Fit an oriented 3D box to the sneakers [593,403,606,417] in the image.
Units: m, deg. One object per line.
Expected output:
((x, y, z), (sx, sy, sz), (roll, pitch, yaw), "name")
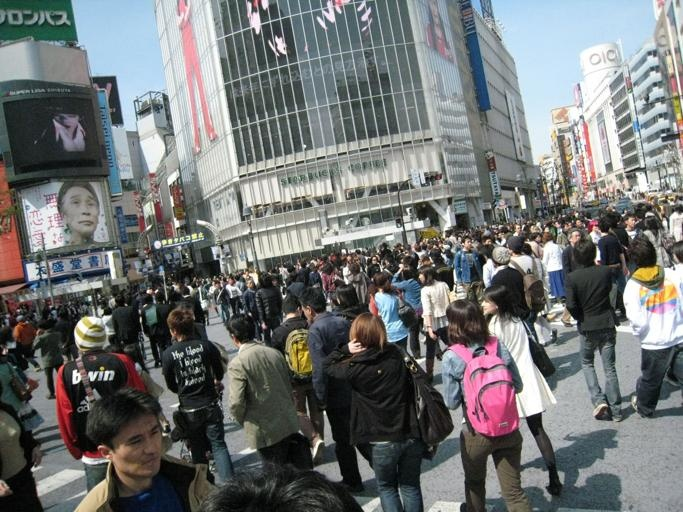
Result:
((3.303, 2.001, 6.815), (0.095, 0.107, 0.227), (8, -37, 1), "sneakers")

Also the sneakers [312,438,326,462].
((-0.304, 2.480, 6.830), (0.126, 0.323, 0.197), (3, 11, -22), "sneakers")

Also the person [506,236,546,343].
((3.447, 0.651, 10.187), (0.796, 2.518, 0.806), (-12, 30, 2), "person")

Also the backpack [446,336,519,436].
((1.305, 1.155, 4.774), (0.396, 0.747, 0.701), (-11, 6, 4), "backpack")

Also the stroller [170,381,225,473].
((-1.587, 1.902, 5.949), (0.541, 1.242, 0.720), (-9, 35, -23), "stroller")

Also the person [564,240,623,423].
((3.304, 0.952, 7.000), (0.563, 2.000, 0.643), (-5, 1, 28), "person")

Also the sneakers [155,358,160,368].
((-5.394, 3.167, 15.647), (0.120, 0.283, 0.405), (-6, 1, -23), "sneakers")

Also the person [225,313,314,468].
((-0.815, 1.484, 5.818), (0.823, 1.684, 0.567), (-6, 1, -7), "person")

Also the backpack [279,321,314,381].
((-0.594, 1.345, 7.086), (0.345, 0.754, 0.487), (0, -4, 27), "backpack")

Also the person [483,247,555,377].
((3.270, 0.759, 9.324), (0.698, 2.234, 1.008), (-23, 18, -13), "person")
